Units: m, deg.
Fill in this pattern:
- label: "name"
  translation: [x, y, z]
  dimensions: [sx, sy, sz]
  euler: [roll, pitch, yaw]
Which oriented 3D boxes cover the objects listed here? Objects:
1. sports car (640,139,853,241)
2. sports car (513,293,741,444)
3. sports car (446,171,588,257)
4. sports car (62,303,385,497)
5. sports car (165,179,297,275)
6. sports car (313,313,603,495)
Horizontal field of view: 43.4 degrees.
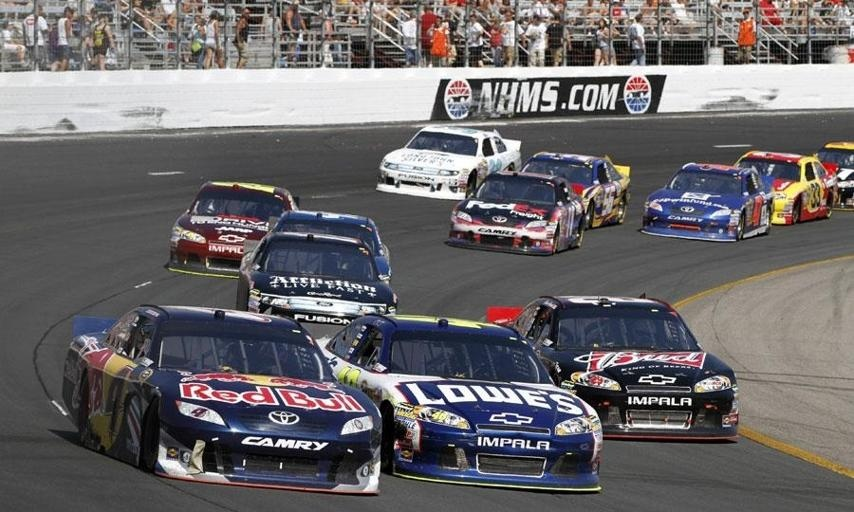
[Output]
- label: "sports car"
  translation: [8.112, -1.541, 27.248]
  dimensions: [2.253, 1.341, 5.452]
  euler: [2, 6, 42]
- label: "sports car"
  translation: [2.907, 1.536, 15.383]
  dimensions: [1.800, 0.935, 2.972]
  euler: [0, 2, -9]
- label: "sports car"
  translation: [2.153, -1.149, 25.303]
  dimensions: [2.673, 1.245, 4.200]
  euler: [10, 16, 19]
- label: "sports car"
  translation: [-2.759, 1.643, 14.002]
  dimensions: [2.813, 1.422, 4.727]
  euler: [6, 2, -30]
- label: "sports car"
  translation: [-4.084, -0.879, 22.544]
  dimensions: [2.415, 1.164, 3.843]
  euler: [6, 20, -8]
- label: "sports car"
  translation: [0.222, 1.700, 15.035]
  dimensions: [2.794, 1.329, 4.986]
  euler: [3, 7, -19]
